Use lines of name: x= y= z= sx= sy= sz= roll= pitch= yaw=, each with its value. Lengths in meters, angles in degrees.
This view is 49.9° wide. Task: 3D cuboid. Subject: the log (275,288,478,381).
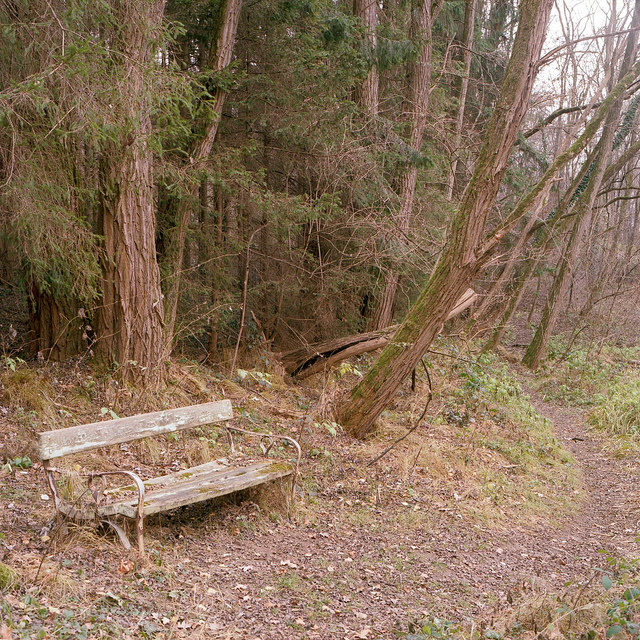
log: x=0.688 y=0.215 z=10.162 sx=2.312 sy=0.297 sz=0.609 roll=-27 pitch=54 yaw=6
